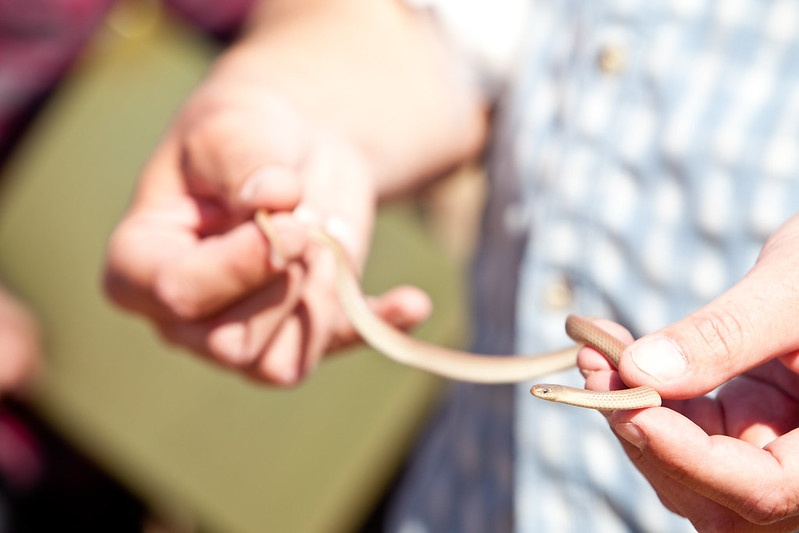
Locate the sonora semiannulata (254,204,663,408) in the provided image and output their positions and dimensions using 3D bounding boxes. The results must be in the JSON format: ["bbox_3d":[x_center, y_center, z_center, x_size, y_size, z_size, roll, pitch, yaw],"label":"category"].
[{"bbox_3d":[0.094,0.132,1.311,0.633,0.289,0.142,20,107,-2],"label":"sonora semiannulata"}]
